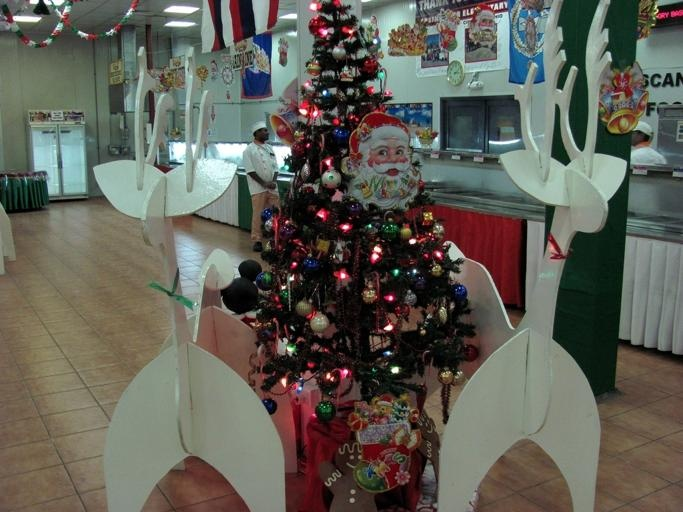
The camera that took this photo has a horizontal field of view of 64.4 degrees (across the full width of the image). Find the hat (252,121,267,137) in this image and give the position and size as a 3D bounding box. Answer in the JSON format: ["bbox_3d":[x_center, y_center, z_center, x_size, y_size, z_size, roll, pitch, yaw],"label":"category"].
[{"bbox_3d":[-1.256,-1.920,8.134,0.207,0.152,0.368,-3,15,-10],"label":"hat"}]

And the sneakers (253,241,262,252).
[{"bbox_3d":[-1.280,-0.149,8.141,0.102,0.116,0.270,-4,1,-17],"label":"sneakers"}]

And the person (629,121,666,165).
[{"bbox_3d":[3.228,-1.195,5.696,0.330,0.407,1.065,7,16,28],"label":"person"}]

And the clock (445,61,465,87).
[{"bbox_3d":[1.760,-2.842,8.413,0.076,0.383,0.363,-7,16,-27],"label":"clock"}]
